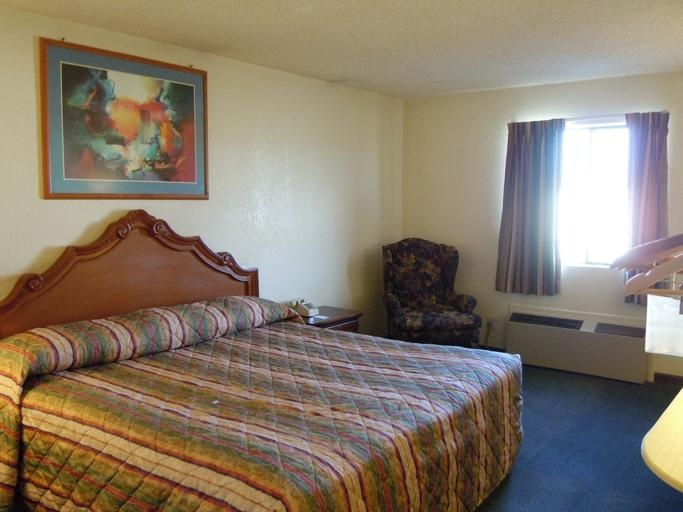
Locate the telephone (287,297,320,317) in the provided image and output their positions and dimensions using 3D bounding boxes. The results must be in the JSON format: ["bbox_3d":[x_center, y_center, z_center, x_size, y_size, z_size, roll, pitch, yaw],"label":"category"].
[{"bbox_3d":[-0.330,0.449,4.759,0.242,0.084,0.135,10,11,33],"label":"telephone"}]
